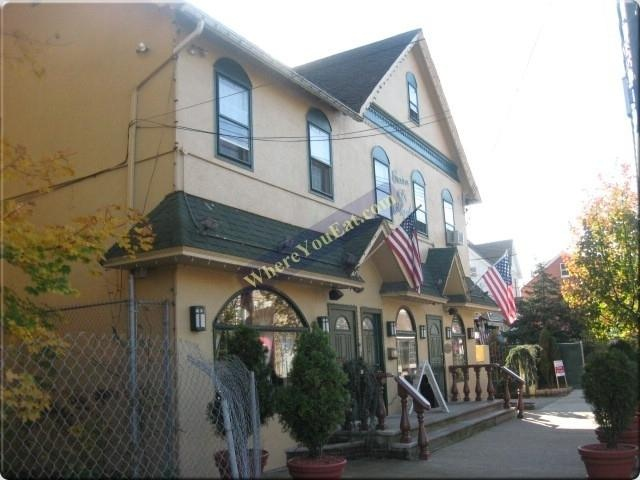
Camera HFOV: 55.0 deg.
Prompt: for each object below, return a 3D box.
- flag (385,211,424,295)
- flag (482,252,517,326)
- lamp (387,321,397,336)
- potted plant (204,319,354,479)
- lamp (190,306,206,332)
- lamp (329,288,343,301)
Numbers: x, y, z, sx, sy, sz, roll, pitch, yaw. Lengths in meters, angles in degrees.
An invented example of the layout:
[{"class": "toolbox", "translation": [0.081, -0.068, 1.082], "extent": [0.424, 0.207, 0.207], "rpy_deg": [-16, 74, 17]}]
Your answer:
[{"class": "flag", "translation": [2.285, 0.135, 15.591], "extent": [0.907, 0.235, 2.861], "rpy_deg": [-2, -47, 20]}, {"class": "flag", "translation": [5.707, 1.420, 19.258], "extent": [1.075, 0.289, 3.363], "rpy_deg": [0, -49, 32]}, {"class": "lamp", "translation": [1.922, 2.409, 16.751], "extent": [0.122, 0.397, 0.394], "rpy_deg": [-4, -8, 25]}, {"class": "potted plant", "translation": [-0.383, 2.602, 10.084], "extent": [1.616, 2.522, 0.765], "rpy_deg": [-16, -18, 32]}, {"class": "lamp", "translation": [-2.260, 1.436, 11.236], "extent": [0.223, 0.660, 0.353], "rpy_deg": [-6, -10, 25]}, {"class": "lamp", "translation": [0.375, 1.293, 14.602], "extent": [0.279, 0.270, 0.465], "rpy_deg": [-11, -17, 16]}]
